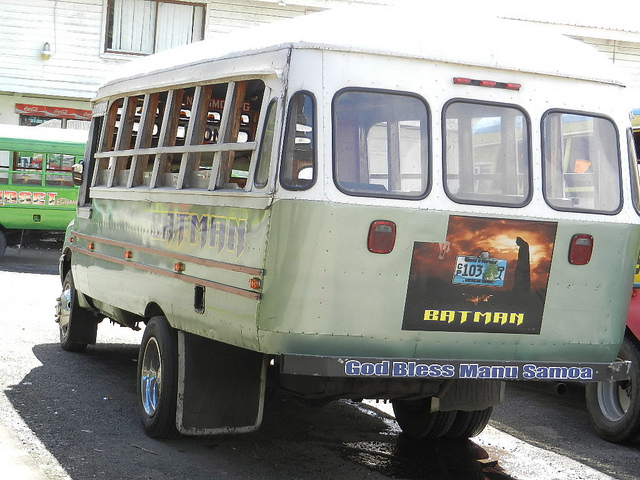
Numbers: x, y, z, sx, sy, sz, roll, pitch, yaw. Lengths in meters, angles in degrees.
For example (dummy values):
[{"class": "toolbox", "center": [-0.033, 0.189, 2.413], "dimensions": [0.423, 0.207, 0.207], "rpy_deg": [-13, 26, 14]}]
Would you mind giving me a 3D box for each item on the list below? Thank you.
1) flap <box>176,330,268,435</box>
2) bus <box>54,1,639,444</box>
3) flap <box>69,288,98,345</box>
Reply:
[{"class": "flap", "center": [-0.837, 1.246, 4.864], "dimensions": [0.780, 0.081, 1.063], "rpy_deg": [11, 31, -15]}, {"class": "bus", "center": [-0.381, -0.125, 6.287], "dimensions": [3.201, 3.240, 6.015], "rpy_deg": [2, 2, -29]}, {"class": "flap", "center": [-3.347, 1.052, 7.916], "dimensions": [0.351, 0.750, 0.698], "rpy_deg": [1, 14, -19]}]
